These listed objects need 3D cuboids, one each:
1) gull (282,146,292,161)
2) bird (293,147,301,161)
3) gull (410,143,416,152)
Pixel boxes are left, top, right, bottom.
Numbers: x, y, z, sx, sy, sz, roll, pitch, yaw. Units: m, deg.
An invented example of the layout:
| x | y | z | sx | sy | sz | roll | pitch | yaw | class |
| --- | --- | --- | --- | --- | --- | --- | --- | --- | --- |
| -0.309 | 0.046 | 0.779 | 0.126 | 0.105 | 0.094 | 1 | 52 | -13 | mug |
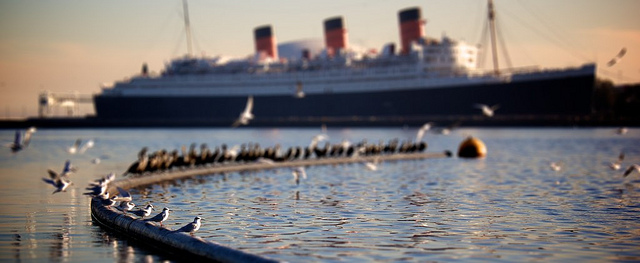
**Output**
| x | y | z | sx | sy | sz | roll | pitch | yaw | class |
| --- | --- | --- | --- | --- | --- | --- | --- | --- | --- |
| -4.144 | 2.991 | 113.976 | 0.831 | 1.675 | 1.090 | -2 | 0 | 25 | gull |
| -2.967 | 2.801 | 114.332 | 0.903 | 1.505 | 0.569 | -2 | 0 | 44 | bird |
| 12.250 | 2.235 | 119.417 | 0.405 | 1.055 | 0.479 | 14 | -21 | 22 | gull |
